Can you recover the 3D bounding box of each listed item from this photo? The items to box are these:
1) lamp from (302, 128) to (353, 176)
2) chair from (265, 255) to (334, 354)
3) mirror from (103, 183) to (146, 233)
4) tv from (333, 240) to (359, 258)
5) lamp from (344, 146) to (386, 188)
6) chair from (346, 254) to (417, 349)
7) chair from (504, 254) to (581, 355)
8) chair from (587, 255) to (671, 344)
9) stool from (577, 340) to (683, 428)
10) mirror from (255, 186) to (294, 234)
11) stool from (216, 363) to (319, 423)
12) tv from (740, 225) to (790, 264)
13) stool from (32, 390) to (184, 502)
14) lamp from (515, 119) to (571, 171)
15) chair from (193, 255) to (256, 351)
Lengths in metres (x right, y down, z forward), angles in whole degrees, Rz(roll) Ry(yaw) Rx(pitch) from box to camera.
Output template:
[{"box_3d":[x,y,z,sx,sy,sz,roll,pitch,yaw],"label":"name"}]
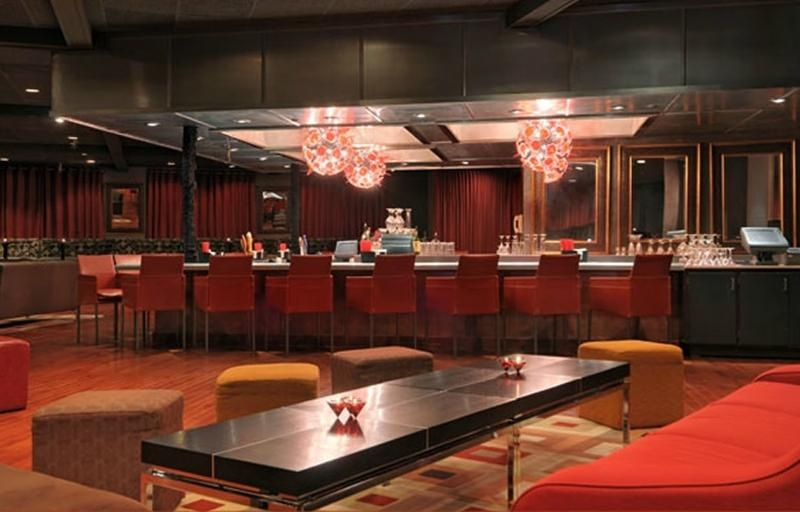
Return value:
[{"box_3d":[-1.189,-1.656,10.527,0.765,0.783,0.695,5,20,9],"label":"lamp"},{"box_3d":[-1.368,0.639,9.114,0.911,1.402,0.904,-1,8,-6],"label":"chair"},{"box_3d":[-6.994,-1.206,16.892,1.396,1.655,0.175,1,0,-4],"label":"mirror"},{"box_3d":[-0.851,-0.096,10.452,0.542,0.256,0.432,3,-7,-8],"label":"tv"},{"box_3d":[-0.634,-1.645,11.578,0.849,0.379,0.868,10,-6,3],"label":"lamp"},{"box_3d":[-0.199,0.575,8.984,0.946,1.044,0.939,2,-3,-43],"label":"chair"},{"box_3d":[1.730,0.654,8.696,1.204,1.353,1.134,0,-1,14],"label":"chair"},{"box_3d":[3.000,0.557,8.647,0.947,1.082,0.958,0,0,-37],"label":"chair"},{"box_3d":[2.171,1.246,6.510,0.840,0.663,0.780,1,-7,-25],"label":"stool"},{"box_3d":[-3.212,-1.140,17.004,0.805,1.151,0.142,1,8,12],"label":"mirror"},{"box_3d":[-1.192,1.043,5.841,0.777,0.466,0.505,0,1,-7],"label":"stool"},{"box_3d":[5.093,-0.149,9.509,0.613,0.454,0.711,-5,3,2],"label":"tv"},{"box_3d":[-2.205,1.385,5.274,0.958,0.736,0.899,0,-4,2],"label":"stool"},{"box_3d":[2.067,-1.609,9.741,0.712,0.719,0.453,3,8,24],"label":"lamp"},{"box_3d":[-2.421,0.640,9.310,0.811,1.404,0.957,-2,8,-12],"label":"chair"}]
